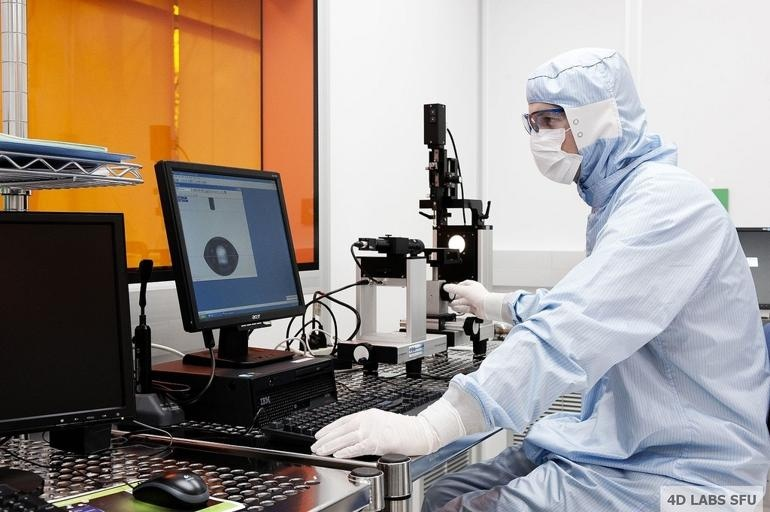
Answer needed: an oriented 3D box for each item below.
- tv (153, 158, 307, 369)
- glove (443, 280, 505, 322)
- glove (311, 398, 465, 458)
[{"bbox_3d":[-0.497,-0.038,2.129,0.139,0.548,0.467,4,9,42],"label":"tv"},{"bbox_3d":[0.366,0.163,2.462,0.195,0.167,0.200,7,6,31],"label":"glove"},{"bbox_3d":[0.027,0.469,1.770,0.459,0.136,0.159,-12,43,-2],"label":"glove"}]
